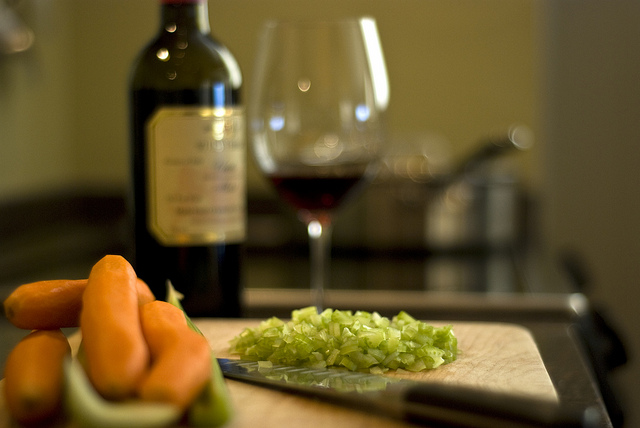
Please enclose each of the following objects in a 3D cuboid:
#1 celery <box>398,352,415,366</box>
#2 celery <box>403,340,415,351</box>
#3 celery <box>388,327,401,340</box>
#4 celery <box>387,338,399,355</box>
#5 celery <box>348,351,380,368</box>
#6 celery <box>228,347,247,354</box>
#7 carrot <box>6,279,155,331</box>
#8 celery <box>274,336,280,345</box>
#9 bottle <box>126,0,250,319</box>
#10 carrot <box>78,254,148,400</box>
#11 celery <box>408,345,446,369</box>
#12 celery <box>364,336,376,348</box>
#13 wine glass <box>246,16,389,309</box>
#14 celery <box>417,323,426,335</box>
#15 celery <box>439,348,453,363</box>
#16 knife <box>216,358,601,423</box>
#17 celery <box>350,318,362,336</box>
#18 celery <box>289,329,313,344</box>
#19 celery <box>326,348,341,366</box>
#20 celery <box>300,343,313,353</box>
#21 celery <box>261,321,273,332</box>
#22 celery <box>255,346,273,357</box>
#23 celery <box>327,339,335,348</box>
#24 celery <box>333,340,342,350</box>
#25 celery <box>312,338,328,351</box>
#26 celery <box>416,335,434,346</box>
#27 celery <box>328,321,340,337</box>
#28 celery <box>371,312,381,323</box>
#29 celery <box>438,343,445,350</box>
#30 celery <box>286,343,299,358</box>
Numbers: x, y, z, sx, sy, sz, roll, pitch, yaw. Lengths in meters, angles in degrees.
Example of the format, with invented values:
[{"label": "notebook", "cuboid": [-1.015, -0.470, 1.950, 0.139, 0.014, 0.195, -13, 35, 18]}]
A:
[{"label": "celery", "cuboid": [0.094, 0.156, 0.655, 0.015, 0.004, 0.011, 19, 45, -1]}, {"label": "celery", "cuboid": [0.098, 0.143, 0.660, 0.008, 0.002, 0.008, 13, 32, 6]}, {"label": "celery", "cuboid": [0.083, 0.132, 0.678, 0.012, 0.015, 0.008, 6, 11, 11]}, {"label": "celery", "cuboid": [0.078, 0.142, 0.654, 0.014, 0.015, 0.012, -2, -1, 43]}, {"label": "celery", "cuboid": [0.048, 0.156, 0.642, 0.024, 0.018, 0.008, 16, -14, -17]}, {"label": "celery", "cuboid": [-0.097, 0.160, 0.715, 0.013, 0.005, 0.012, 0, 39, 9]}, {"label": "carrot", "cuboid": [-0.224, 0.077, 0.616, 0.165, 0.056, 0.054, 0, -4, -35]}, {"label": "celery", "cuboid": [-0.048, 0.139, 0.672, 0.006, 0.008, 0.007, 1, -2, 10]}, {"label": "bottle", "cuboid": [-0.188, -0.076, 0.866, 0.160, 0.444, 0.135, -2, 15, -17]}, {"label": "carrot", "cuboid": [-0.193, 0.098, 0.573, 0.055, 0.054, 0.170, 5, 33, -22]}, {"label": "celery", "cuboid": [0.119, 0.159, 0.654, 0.025, 0.028, 0.011, -2, -9, -8]}, {"label": "celery", "cuboid": [0.054, 0.137, 0.652, 0.010, 0.004, 0.008, 43, 24, 8]}, {"label": "wine glass", "cuboid": [-0.004, -0.072, 0.812, 0.181, 0.374, 0.117, 0, 14, -8]}, {"label": "celery", "cuboid": [0.112, 0.128, 0.675, 0.009, 0.017, 0.010, 0, -3, 6]}, {"label": "celery", "cuboid": [0.141, 0.157, 0.679, 0.013, 0.014, 0.012, -1, 2, 22]}, {"label": "knife", "cuboid": [0.070, 0.167, 0.573, 0.335, 0.019, 0.050, 1, -19, 41]}, {"label": "celery", "cuboid": [0.038, 0.125, 0.665, 0.009, 0.013, 0.004, -5, -39, 35]}, {"label": "celery", "cuboid": [-0.020, 0.134, 0.663, 0.016, 0.006, 0.005, 30, -13, 32]}, {"label": "celery", "cuboid": [0.015, 0.149, 0.641, 0.011, 0.021, 0.005, 26, -22, 3]}, {"label": "celery", "cuboid": [-0.015, 0.144, 0.654, 0.009, 0.003, 0.013, 29, 5, 12]}, {"label": "celery", "cuboid": [-0.063, 0.135, 0.720, 0.010, 0.010, 0.006, 6, -9, -7]}, {"label": "celery", "cuboid": [-0.064, 0.151, 0.678, 0.013, 0.014, 0.012, -2, 1, 13]}, {"label": "celery", "cuboid": [0.011, 0.139, 0.647, 0.008, 0.009, 0.005, -3, -3, 5]}, {"label": "celery", "cuboid": [0.019, 0.141, 0.651, 0.009, 0.010, 0.005, -5, -5, 25]}, {"label": "celery", "cuboid": [-0.002, 0.139, 0.653, 0.010, 0.013, 0.012, 0, 4, -1]}, {"label": "celery", "cuboid": [0.115, 0.138, 0.669, 0.013, 0.003, 0.012, 9, 3, -12]}, {"label": "celery", "cuboid": [0.015, 0.125, 0.665, 0.011, 0.012, 0.021, 7, -12, 4]}, {"label": "celery", "cuboid": [0.066, 0.121, 0.718, 0.009, 0.017, 0.009, 2, 9, 10]}, {"label": "celery", "cuboid": [0.136, 0.148, 0.681, 0.006, 0.005, 0.006, 1, -1, 8]}, {"label": "celery", "cuboid": [-0.030, 0.146, 0.657, 0.004, 0.009, 0.013, 14, 24, -51]}]
